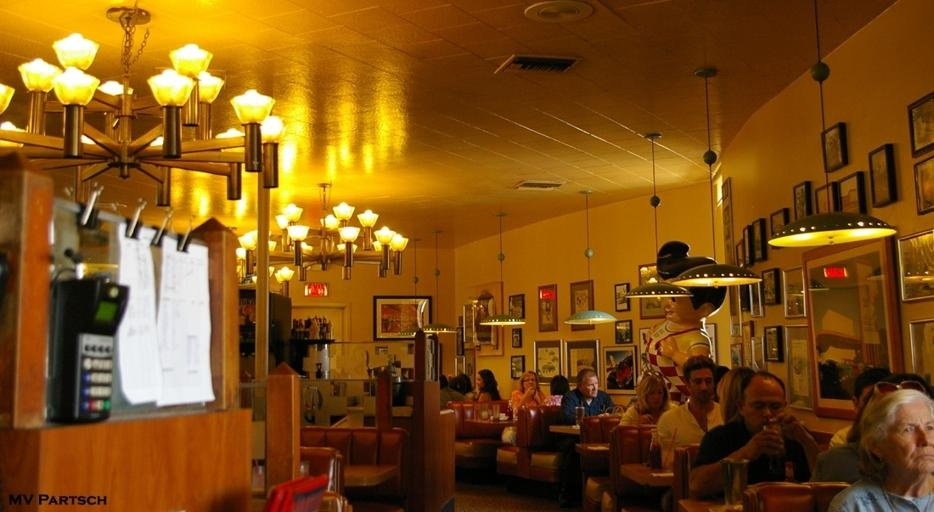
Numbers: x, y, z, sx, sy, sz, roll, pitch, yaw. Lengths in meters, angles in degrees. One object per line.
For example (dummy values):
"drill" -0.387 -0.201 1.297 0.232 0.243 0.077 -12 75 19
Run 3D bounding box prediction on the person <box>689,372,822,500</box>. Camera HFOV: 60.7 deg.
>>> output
"person" 2.014 1.267 5.449 0.699 1.024 0.663 1 1 5

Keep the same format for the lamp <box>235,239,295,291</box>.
"lamp" -2.555 0.096 10.083 0.573 0.867 0.997 2 1 -6

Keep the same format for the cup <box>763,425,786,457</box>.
"cup" 2.032 1.208 5.276 0.115 0.183 0.330 -5 -10 19

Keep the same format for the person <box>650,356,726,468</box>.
"person" 1.928 1.306 7.043 0.536 0.981 0.466 1 1 3

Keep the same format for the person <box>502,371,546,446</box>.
"person" 0.964 2.358 12.077 0.650 1.223 0.656 -9 -9 40

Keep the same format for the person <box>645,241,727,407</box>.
"person" 2.494 0.789 9.205 0.759 2.216 0.817 -7 0 26

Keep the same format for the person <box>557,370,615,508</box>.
"person" 1.423 2.338 10.455 0.746 1.629 0.661 0 -2 -33

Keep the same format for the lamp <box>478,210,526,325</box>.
"lamp" 0.620 0.233 15.340 0.652 2.269 0.627 1 2 4

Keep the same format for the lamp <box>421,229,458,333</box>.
"lamp" -0.443 0.535 16.858 0.699 2.105 0.490 5 -12 -26

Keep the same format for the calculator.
"calculator" -1.613 0.416 3.424 0.219 0.591 0.273 -1 -9 -3

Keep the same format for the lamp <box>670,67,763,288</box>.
"lamp" 2.129 -0.746 7.024 0.832 1.740 0.802 0 10 12
